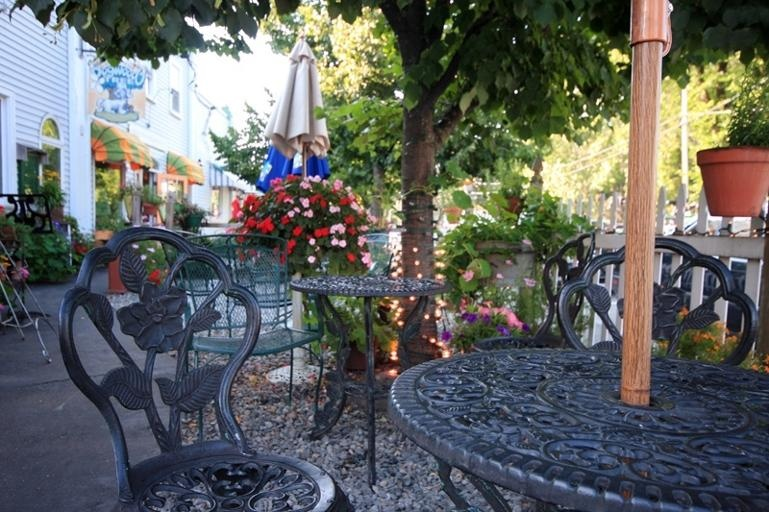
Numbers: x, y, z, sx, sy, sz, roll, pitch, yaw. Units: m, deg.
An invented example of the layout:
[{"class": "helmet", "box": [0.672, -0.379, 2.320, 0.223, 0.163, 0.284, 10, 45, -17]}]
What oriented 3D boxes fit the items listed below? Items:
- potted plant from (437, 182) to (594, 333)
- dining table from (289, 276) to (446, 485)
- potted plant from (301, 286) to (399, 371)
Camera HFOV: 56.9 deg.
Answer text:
[{"class": "potted plant", "box": [1.222, -0.122, 6.996, 1.154, 1.620, 1.427, 9, -2, -2]}, {"class": "dining table", "box": [0.047, 0.869, 5.501, 1.201, 1.524, 1.216, -1, 0, 40]}, {"class": "potted plant", "box": [-0.226, 0.597, 5.736, 0.662, 0.539, 0.727, 1, 4, 6]}]
